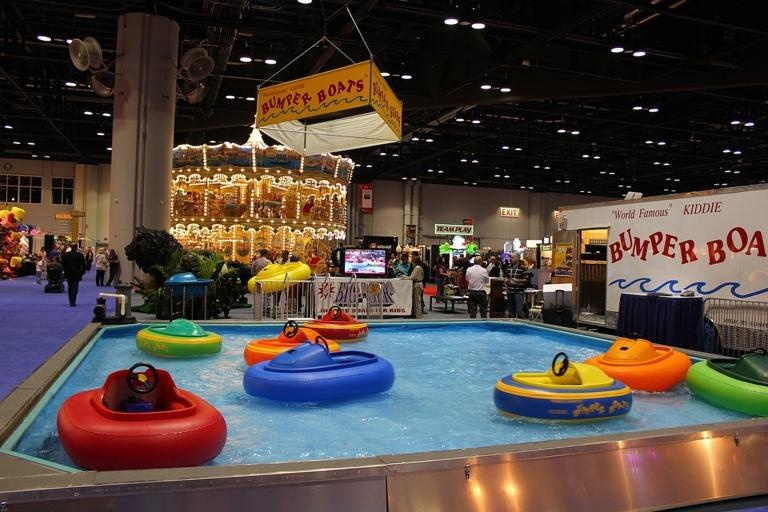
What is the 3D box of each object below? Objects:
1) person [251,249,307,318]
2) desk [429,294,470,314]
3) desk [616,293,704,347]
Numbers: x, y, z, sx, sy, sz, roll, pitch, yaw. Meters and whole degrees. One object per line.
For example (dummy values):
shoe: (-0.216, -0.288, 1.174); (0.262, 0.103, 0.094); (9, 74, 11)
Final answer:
person: (-2.580, 0.600, 12.178); (1.235, 0.990, 2.216); (1, 1, -26)
desk: (2.205, 1.529, 16.375); (0.727, 0.447, 1.094); (4, 3, 43)
desk: (5.337, 1.157, 10.001); (0.651, 0.833, 1.293); (8, -3, -29)
